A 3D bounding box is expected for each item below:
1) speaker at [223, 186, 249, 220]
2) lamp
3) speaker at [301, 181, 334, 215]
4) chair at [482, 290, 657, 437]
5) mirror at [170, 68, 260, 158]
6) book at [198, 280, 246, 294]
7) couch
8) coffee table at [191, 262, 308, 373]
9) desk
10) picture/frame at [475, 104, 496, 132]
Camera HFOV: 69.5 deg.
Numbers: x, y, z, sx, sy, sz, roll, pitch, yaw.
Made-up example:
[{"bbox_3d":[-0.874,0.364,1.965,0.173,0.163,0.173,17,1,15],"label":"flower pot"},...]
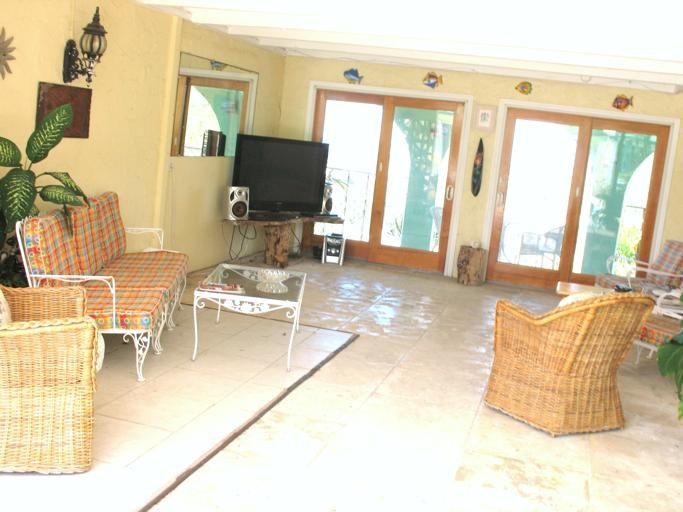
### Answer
[{"bbox_3d":[-1.388,-0.699,6.656,0.309,0.454,0.185,1,14,-23],"label":"speaker"},{"bbox_3d":[-2.145,-1.817,4.270,0.276,0.703,0.451,8,13,6],"label":"lamp"},{"bbox_3d":[-0.310,-0.878,7.745,0.554,0.593,0.435,0,5,3],"label":"speaker"},{"bbox_3d":[1.666,0.656,3.709,0.963,1.057,1.075,-2,6,-24],"label":"chair"},{"bbox_3d":[-1.618,-1.782,6.213,0.116,1.014,1.454,16,16,23],"label":"mirror"},{"bbox_3d":[-0.940,0.250,3.910,0.344,0.031,0.239,5,12,-6],"label":"book"},{"bbox_3d":[-1.762,0.218,3.621,0.758,0.913,1.499,2,13,-2],"label":"couch"},{"bbox_3d":[-0.754,0.416,4.233,0.875,0.577,0.954,10,11,5],"label":"coffee table"},{"bbox_3d":[-1.072,-0.262,7.351,0.907,0.772,1.645,17,16,43],"label":"desk"},{"bbox_3d":[2.155,-2.067,7.356,0.404,0.489,0.038,4,10,13],"label":"picture/frame"}]
